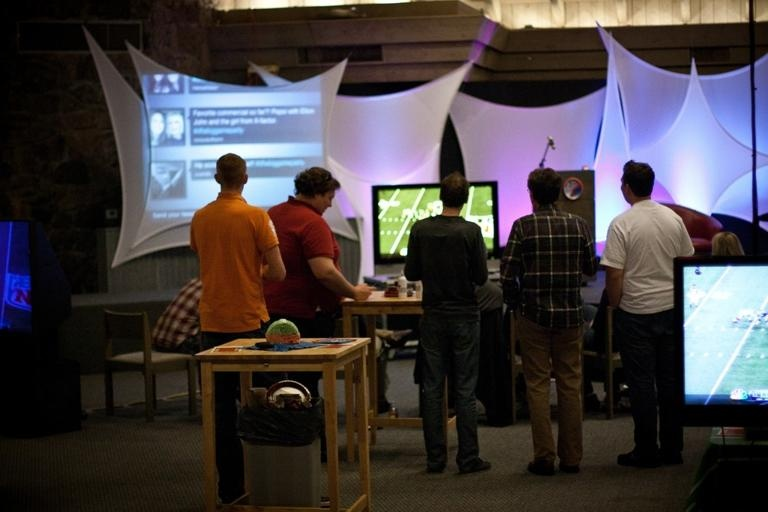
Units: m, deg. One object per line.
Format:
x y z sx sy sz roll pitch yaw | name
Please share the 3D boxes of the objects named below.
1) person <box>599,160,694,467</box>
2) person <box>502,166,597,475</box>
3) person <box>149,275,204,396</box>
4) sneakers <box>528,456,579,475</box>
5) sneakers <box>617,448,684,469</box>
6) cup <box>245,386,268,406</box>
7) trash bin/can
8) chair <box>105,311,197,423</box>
2.014 0.455 6.195 0.663 2.320 0.319 1 0 15 | person
1.252 0.496 6.142 0.703 2.173 0.266 1 0 12 | person
-1.879 0.670 7.760 0.502 0.887 0.535 -1 -13 24 | person
1.287 1.580 6.172 0.386 0.185 0.150 2 -1 0 | sneakers
2.057 1.550 6.192 0.446 0.209 0.192 0 -1 10 | sneakers
-0.840 0.936 5.288 0.123 0.117 0.082 1 1 -6 | cup
-0.650 1.271 5.513 0.595 0.829 0.614 0 1 16 | trash bin/can
-2.184 0.997 7.494 0.549 1.017 0.689 -1 -1 33 | chair
